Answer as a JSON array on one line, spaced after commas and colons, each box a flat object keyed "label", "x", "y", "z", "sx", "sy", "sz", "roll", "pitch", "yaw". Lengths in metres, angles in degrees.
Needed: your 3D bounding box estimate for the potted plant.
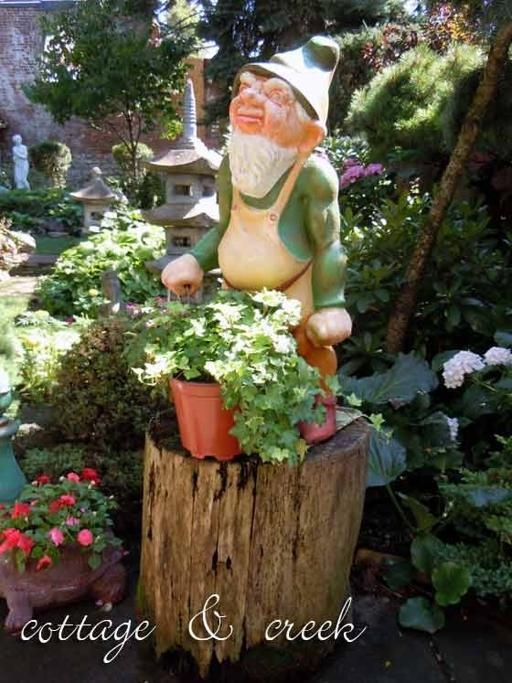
[{"label": "potted plant", "x": -0.047, "y": 0.143, "z": 1.859, "sx": 0.584, "sy": 0.359, "sz": 0.538, "roll": 4, "pitch": 22, "yaw": -1}]
